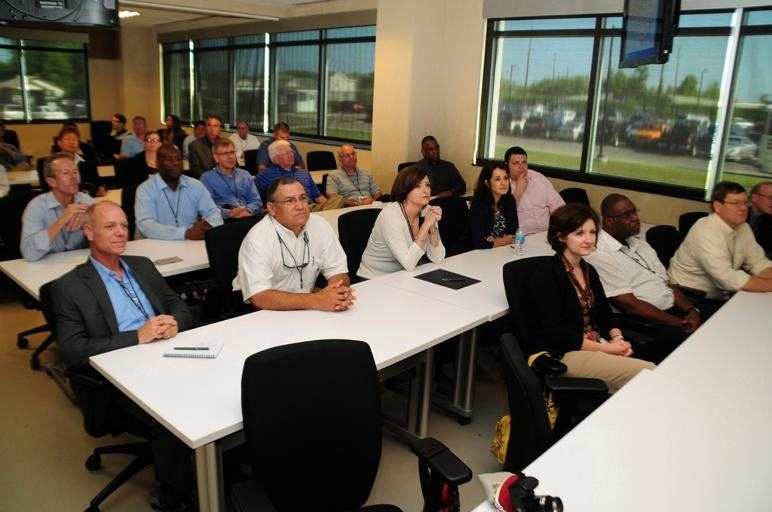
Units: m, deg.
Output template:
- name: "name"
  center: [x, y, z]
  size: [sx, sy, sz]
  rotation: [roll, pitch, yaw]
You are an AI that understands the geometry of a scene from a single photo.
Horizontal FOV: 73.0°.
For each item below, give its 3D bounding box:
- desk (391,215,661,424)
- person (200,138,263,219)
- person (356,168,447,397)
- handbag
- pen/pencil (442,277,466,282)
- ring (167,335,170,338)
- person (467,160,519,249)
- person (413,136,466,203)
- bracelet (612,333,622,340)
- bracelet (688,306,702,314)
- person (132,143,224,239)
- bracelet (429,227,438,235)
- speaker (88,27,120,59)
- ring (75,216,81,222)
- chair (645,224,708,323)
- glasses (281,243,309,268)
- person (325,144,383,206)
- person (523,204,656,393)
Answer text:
- name: "desk"
  center: [1.217, 0.488, 3.432]
  size: [1.514, 0.972, 0.897]
  rotation: [-7, 27, -46]
- name: "person"
  center: [-1.747, -0.848, 5.984]
  size: [0.682, 0.966, 0.639]
  rotation: [17, 25, 33]
- name: "person"
  center: [0.148, -0.082, 4.664]
  size: [0.542, 1.494, 0.819]
  rotation: [-13, 31, -33]
- name: "handbag"
  center: [0.864, 1.133, 3.303]
  size: [0.166, 0.562, 0.358]
  rotation: [3, -8, -13]
- name: "pen/pencil"
  center: [0.537, 0.188, 4.144]
  size: [0.152, 0.029, 0.017]
  rotation: [-2, 18, -6]
- name: "ring"
  center: [-1.327, 0.494, 3.176]
  size: [0.022, 0.017, 0.006]
  rotation: [-10, 6, 10]
- name: "person"
  center: [1.068, -0.520, 5.255]
  size: [0.567, 0.815, 0.489]
  rotation: [-10, 17, -29]
- name: "person"
  center: [0.679, -1.246, 7.619]
  size: [0.970, 0.911, 0.610]
  rotation: [-6, 11, -8]
- name: "bracelet"
  center: [1.638, 0.567, 3.697]
  size: [0.047, 0.057, 0.060]
  rotation: [-6, 6, -38]
- name: "bracelet"
  center: [2.583, 0.450, 4.352]
  size: [0.083, 0.044, 0.108]
  rotation: [1, 12, -21]
- name: "person"
  center: [-2.014, -0.543, 5.009]
  size: [0.810, 1.035, 1.034]
  rotation: [-11, 19, -44]
- name: "bracelet"
  center: [0.401, -0.215, 4.458]
  size: [0.062, 0.032, 0.085]
  rotation: [-2, -2, 6]
- name: "speaker"
  center: [-7.308, -5.465, 13.510]
  size: [0.804, 0.704, 0.416]
  rotation: [-10, 19, -27]
- name: "ring"
  center: [-2.498, -0.298, 4.216]
  size: [0.045, 0.016, 0.051]
  rotation: [-38, 7, 25]
- name: "chair"
  center: [2.492, 0.177, 4.464]
  size: [0.546, 0.878, 0.510]
  rotation: [-21, 20, -35]
- name: "glasses"
  center: [-0.669, 0.002, 3.832]
  size: [0.176, 0.168, 0.047]
  rotation: [2, -7, -42]
- name: "person"
  center: [-0.437, -1.060, 6.967]
  size: [0.790, 0.819, 0.554]
  rotation: [-8, 18, -23]
- name: "person"
  center: [1.462, 0.421, 3.671]
  size: [0.664, 1.571, 0.879]
  rotation: [-10, 13, -34]
